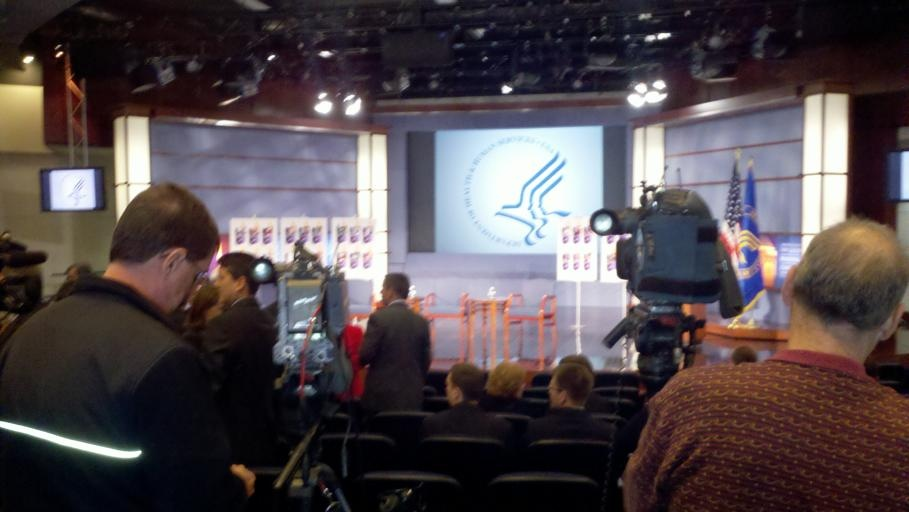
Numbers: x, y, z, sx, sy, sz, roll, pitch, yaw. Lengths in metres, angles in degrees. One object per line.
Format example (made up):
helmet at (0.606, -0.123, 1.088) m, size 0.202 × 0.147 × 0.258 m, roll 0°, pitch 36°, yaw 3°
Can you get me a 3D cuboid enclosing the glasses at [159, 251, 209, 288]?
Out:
glasses at (-1.593, 0.081, 4.402) m, size 0.178 × 0.206 × 0.201 m, roll 6°, pitch 5°, yaw 13°
